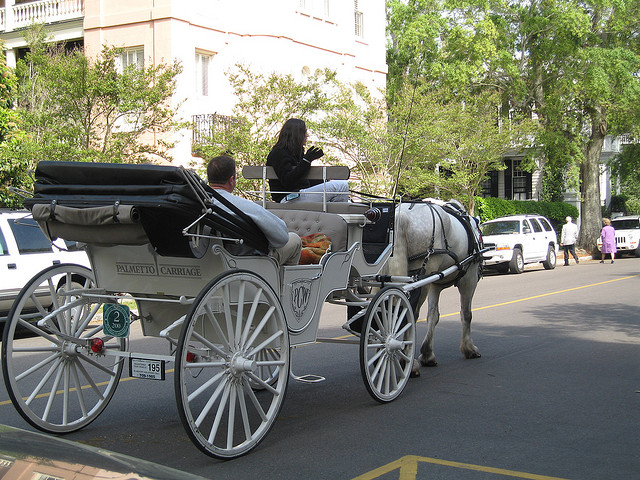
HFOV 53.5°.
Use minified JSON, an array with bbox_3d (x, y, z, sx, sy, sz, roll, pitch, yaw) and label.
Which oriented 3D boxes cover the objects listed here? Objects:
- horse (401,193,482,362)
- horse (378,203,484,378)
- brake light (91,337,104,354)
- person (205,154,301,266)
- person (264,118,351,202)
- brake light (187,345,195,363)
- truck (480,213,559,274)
[{"bbox_3d":[1.914,0.695,9.853,0.785,2.489,2.305,0,5,27],"label":"horse"},{"bbox_3d":[1.916,0.663,10.558,1.123,2.958,4.444,-4,-9,30],"label":"horse"},{"bbox_3d":[-2.339,1.123,6.693,0.156,0.166,0.041,4,12,16],"label":"brake light"},{"bbox_3d":[-0.634,-0.239,6.813,1.113,1.323,0.874,-8,11,-38],"label":"person"},{"bbox_3d":[-0.125,-0.830,8.357,1.141,1.507,0.702,-4,-1,5],"label":"person"},{"bbox_3d":[-1.379,1.240,6.808,0.114,0.151,0.151,4,-8,4],"label":"brake light"},{"bbox_3d":[7.815,0.030,26.955,2.903,2.433,5.412,-4,-5,40],"label":"truck"}]
